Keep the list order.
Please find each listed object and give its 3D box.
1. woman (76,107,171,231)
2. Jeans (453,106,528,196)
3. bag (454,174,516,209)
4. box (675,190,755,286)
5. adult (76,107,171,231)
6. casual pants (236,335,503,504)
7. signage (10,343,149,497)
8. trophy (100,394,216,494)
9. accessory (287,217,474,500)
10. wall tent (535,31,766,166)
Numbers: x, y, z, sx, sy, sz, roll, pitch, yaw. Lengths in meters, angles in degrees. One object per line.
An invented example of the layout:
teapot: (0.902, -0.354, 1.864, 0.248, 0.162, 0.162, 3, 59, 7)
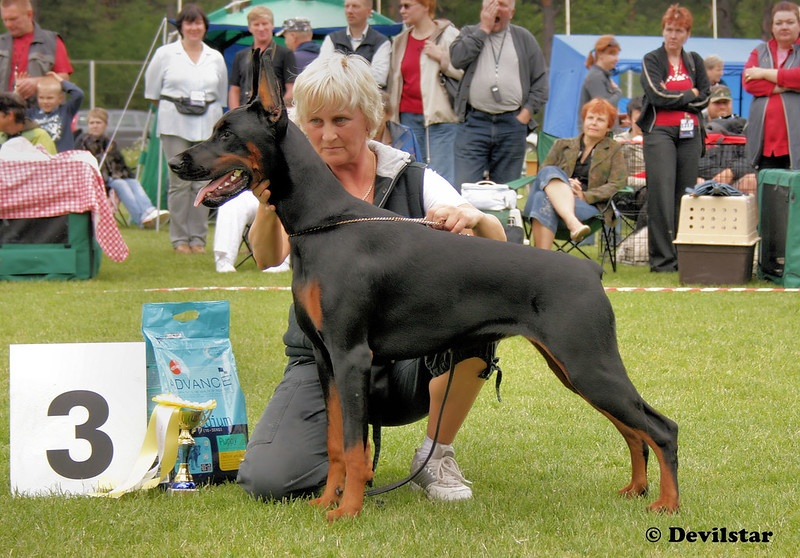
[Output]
woman: (-3.900, -1.513, 17.319, 0.696, 1.032, 1.818, -20, 50, -39)
Jeans: (1.004, -1.416, 13.767, 0.745, 1.547, 0.511, 0, 39, -1)
bag: (0.928, -0.871, 13.043, 0.431, 0.240, 0.581, 6, 1, -1)
box: (3.574, -0.381, 13.324, 0.887, 0.955, 1.076, 1, -1, 39)
adult: (-3.897, -1.504, 17.335, 0.696, 1.071, 1.897, -20, 49, -42)
casual pants: (-0.162, 0.786, 8.756, 1.982, 1.585, 0.974, 5, 9, 18)
signage: (-2.285, 1.029, 8.697, 1.082, 1.183, 0.124, 0, -7, -9)
trophy: (-1.686, 1.208, 8.702, 0.774, 0.721, 0.507, 11, -14, -40)
accessory: (-0.139, 0.507, 8.404, 1.173, 1.947, 0.349, -2, -2, -1)
wall tent: (3.258, -2.358, 16.313, 3.436, 1.737, 1.674, -4, 6, -25)
